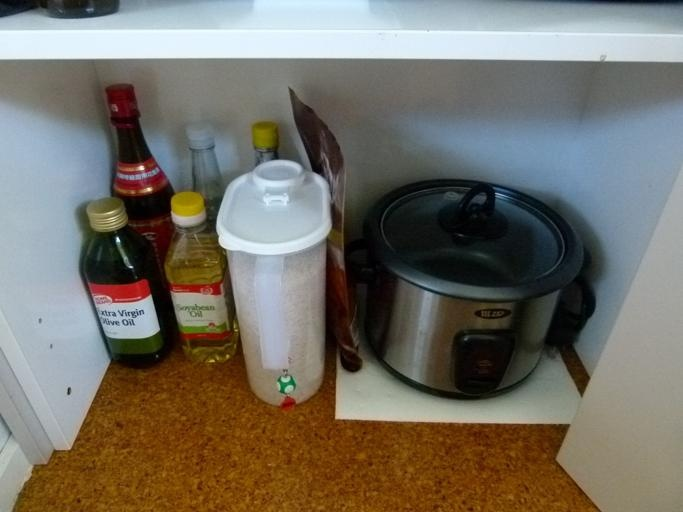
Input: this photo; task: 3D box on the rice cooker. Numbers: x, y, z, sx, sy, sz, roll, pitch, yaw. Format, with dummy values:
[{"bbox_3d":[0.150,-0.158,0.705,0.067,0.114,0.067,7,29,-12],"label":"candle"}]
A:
[{"bbox_3d":[0.192,0.044,0.903,0.356,0.282,0.312,15,37,20],"label":"rice cooker"}]
